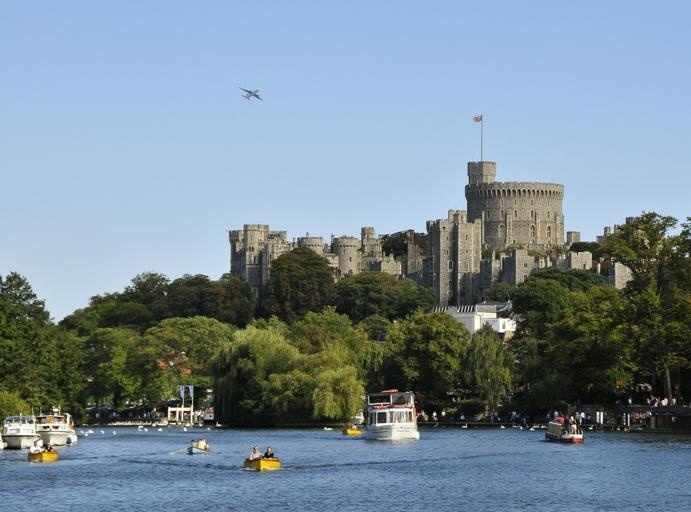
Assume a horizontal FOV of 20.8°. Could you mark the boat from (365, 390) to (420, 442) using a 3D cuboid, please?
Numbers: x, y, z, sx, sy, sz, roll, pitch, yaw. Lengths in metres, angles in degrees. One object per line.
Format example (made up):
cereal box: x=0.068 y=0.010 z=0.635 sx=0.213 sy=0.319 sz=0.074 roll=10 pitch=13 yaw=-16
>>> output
boat: x=4.231 y=16.168 z=189.199 sx=3.993 sy=5.134 sz=6.450 roll=2 pitch=-8 yaw=-28

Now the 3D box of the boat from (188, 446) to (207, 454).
boat: x=-13.832 y=18.157 z=175.926 sx=1.879 sy=0.685 sz=0.891 roll=-4 pitch=-8 yaw=15

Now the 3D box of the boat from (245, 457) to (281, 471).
boat: x=-7.214 y=18.128 z=163.930 sx=2.919 sy=1.238 sz=1.331 roll=-1 pitch=-7 yaw=-5
